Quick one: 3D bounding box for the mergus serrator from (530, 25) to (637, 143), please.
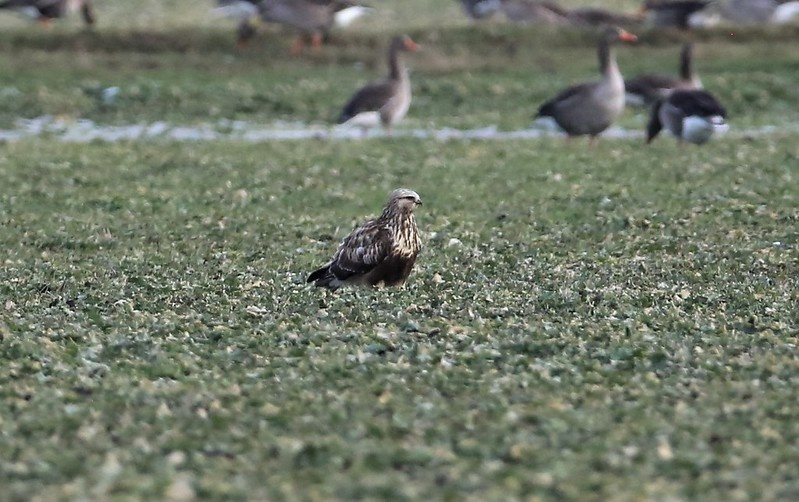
[{"bbox_3d":[5.451,-4.806,35.122,3.398,3.386,2.185,7,18,35],"label":"mergus serrator"}]

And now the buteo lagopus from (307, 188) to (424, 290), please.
[{"bbox_3d":[-0.632,-0.197,27.972,2.401,2.173,0.820,-3,27,-3],"label":"buteo lagopus"}]

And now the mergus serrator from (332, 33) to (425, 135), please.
[{"bbox_3d":[-0.673,-5.155,35.819,4.474,3.033,1.802,0,0,5],"label":"mergus serrator"}]

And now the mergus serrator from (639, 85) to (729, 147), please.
[{"bbox_3d":[8.487,-3.801,34.854,2.420,1.824,0.673,19,34,37],"label":"mergus serrator"}]
